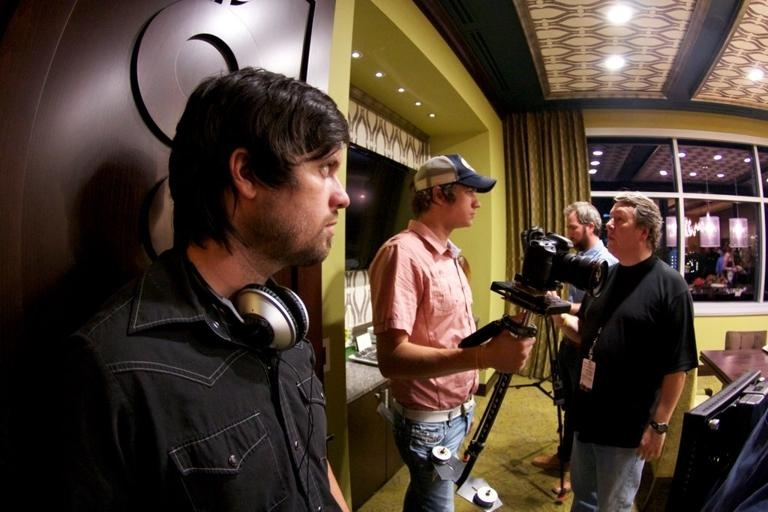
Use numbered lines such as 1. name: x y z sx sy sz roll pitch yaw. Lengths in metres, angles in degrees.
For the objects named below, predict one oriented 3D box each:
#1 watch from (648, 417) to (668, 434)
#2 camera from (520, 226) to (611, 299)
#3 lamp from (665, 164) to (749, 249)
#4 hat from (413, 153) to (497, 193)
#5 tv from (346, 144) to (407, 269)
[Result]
1. watch: 1.265 0.782 2.609 0.076 0.052 0.080 8 -4 9
2. camera: 0.704 0.032 2.191 0.304 0.188 0.255 19 8 34
3. lamp: 3.495 -0.502 6.307 0.785 0.971 0.824 3 -3 0
4. hat: 0.326 -0.372 2.548 0.285 0.149 0.193 -6 14 8
5. tv: -0.068 -0.330 3.846 0.077 0.518 0.815 7 -20 17
